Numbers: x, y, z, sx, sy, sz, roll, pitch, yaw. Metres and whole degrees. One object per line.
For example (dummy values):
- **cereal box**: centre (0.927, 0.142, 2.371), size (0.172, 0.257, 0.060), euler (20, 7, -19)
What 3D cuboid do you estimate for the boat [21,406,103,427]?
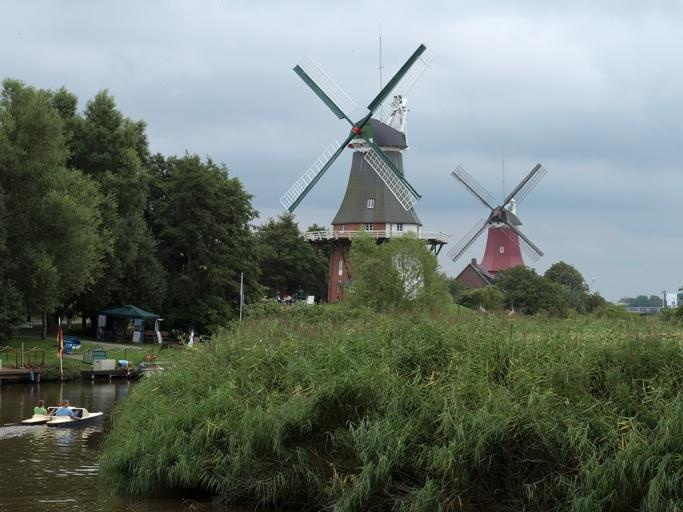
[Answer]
- **boat**: centre (-9.482, 5.729, 29.705), size (0.992, 0.580, 1.881), euler (2, -1, 30)
